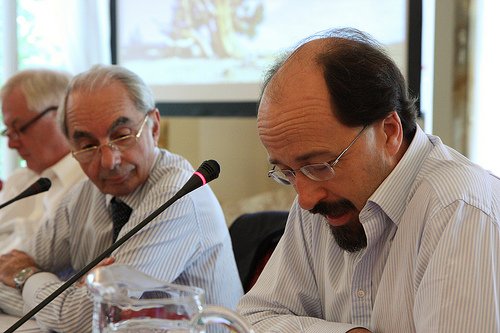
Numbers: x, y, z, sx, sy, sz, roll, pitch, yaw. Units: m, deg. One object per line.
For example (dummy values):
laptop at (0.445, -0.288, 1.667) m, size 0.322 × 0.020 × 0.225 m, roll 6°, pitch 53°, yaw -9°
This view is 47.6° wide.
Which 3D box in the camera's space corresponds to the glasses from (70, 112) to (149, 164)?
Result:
glasses at (-0.695, -0.133, 2.866) m, size 0.392 × 0.237 × 0.120 m, roll -3°, pitch 12°, yaw -15°

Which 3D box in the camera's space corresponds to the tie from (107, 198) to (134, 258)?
tie at (-0.683, 0.295, 2.956) m, size 0.157 × 0.209 × 0.063 m, roll -17°, pitch -24°, yaw 38°

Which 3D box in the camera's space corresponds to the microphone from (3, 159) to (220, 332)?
microphone at (-0.634, 0.385, 2.690) m, size 1.434 × 0.110 × 0.104 m, roll -33°, pitch 24°, yaw -17°

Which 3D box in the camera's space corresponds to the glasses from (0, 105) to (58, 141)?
glasses at (-1.307, -0.268, 3.374) m, size 0.063 × 0.234 × 0.225 m, roll -46°, pitch 15°, yaw -9°

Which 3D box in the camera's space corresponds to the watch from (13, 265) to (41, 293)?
watch at (-1.148, 0.566, 2.929) m, size 0.116 × 0.120 × 0.083 m, roll -41°, pitch 52°, yaw -16°
